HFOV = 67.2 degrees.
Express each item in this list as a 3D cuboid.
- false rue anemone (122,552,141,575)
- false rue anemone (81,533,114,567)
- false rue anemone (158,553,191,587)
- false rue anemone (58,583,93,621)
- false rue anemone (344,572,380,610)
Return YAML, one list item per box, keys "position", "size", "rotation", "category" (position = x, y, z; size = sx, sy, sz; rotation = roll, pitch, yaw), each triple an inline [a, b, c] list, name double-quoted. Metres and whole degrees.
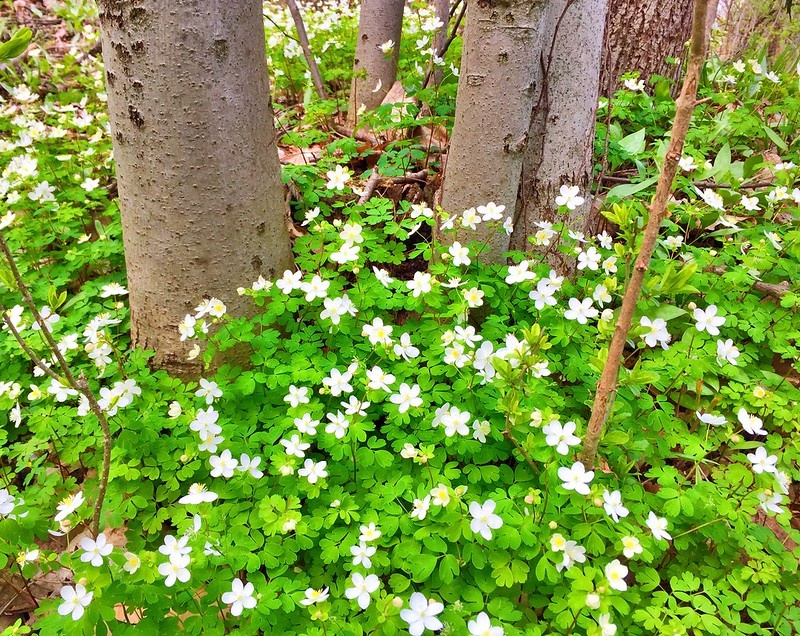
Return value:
- position: [-1.137, 1.035, 2.546]
  size: [0.069, 0.103, 0.056]
  rotation: [-7, 29, -19]
  category: "false rue anemone"
- position: [-1.268, 0.957, 2.501]
  size: [0.126, 0.149, 0.057]
  rotation: [-7, 3, -31]
  category: "false rue anemone"
- position: [-0.942, 1.046, 2.532]
  size: [0.120, 0.043, 0.131]
  rotation: [35, 66, 13]
  category: "false rue anemone"
- position: [-1.332, 1.146, 2.453]
  size: [0.141, 0.165, 0.079]
  rotation: [6, 27, 5]
  category: "false rue anemone"
- position: [-0.164, 1.179, 2.559]
  size: [0.129, 0.220, 0.119]
  rotation: [10, 28, 12]
  category: "false rue anemone"
